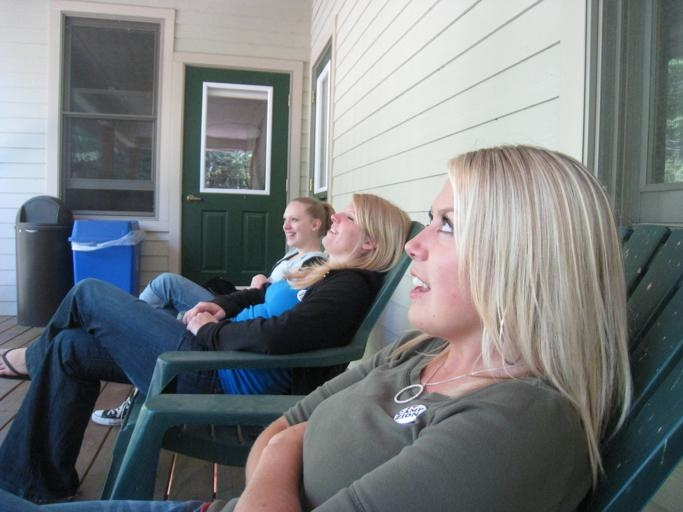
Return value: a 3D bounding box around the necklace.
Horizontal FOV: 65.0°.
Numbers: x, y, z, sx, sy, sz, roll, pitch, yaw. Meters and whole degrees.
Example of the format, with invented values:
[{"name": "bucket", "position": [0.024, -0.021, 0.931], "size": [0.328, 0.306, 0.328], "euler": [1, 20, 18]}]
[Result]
[{"name": "necklace", "position": [0.228, 0.240, 1.047], "size": [0.190, 0.039, 0.112], "euler": [-21, 15, 22]}]
